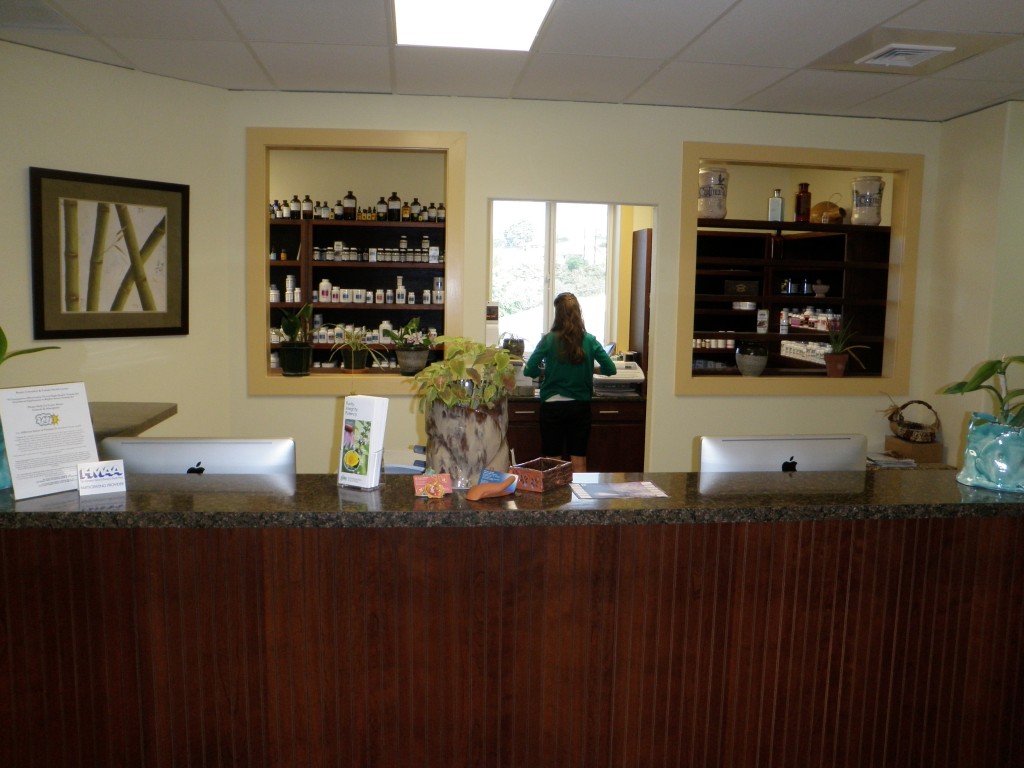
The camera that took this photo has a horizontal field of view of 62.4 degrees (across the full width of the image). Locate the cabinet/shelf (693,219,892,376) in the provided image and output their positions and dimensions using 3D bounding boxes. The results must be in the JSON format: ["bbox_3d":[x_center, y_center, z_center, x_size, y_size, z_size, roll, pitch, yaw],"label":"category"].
[{"bbox_3d":[2.169,-0.645,6.467,1.191,1.027,0.440,2,2,28],"label":"cabinet/shelf"}]

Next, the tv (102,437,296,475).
[{"bbox_3d":[-1.214,0.276,3.261,0.737,0.138,0.118,1,7,-2],"label":"tv"}]

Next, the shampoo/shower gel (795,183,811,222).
[{"bbox_3d":[2.136,-1.306,6.196,0.100,0.290,0.166,3,7,15],"label":"shampoo/shower gel"}]

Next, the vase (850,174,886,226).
[{"bbox_3d":[2.583,-1.325,6.145,0.194,0.362,0.157,3,7,16],"label":"vase"}]

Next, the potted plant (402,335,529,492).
[{"bbox_3d":[-0.227,0.087,3.374,0.472,0.695,0.516,3,4,21],"label":"potted plant"}]

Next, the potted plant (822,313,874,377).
[{"bbox_3d":[2.484,-0.269,6.259,0.265,0.415,0.553,7,9,40],"label":"potted plant"}]

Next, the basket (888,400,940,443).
[{"bbox_3d":[2.849,0.256,5.986,0.346,0.288,0.362,7,9,38],"label":"basket"}]

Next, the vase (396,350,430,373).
[{"bbox_3d":[-0.708,-0.155,5.974,0.192,0.144,0.197,4,7,30],"label":"vase"}]

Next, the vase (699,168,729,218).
[{"bbox_3d":[1.400,-1.333,5.949,0.188,0.370,0.218,3,7,12],"label":"vase"}]

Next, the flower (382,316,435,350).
[{"bbox_3d":[-0.779,-0.337,6.127,0.401,0.259,0.429,2,-5,-5],"label":"flower"}]

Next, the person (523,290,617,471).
[{"bbox_3d":[0.324,0.012,5.775,0.501,1.234,0.692,7,9,42],"label":"person"}]

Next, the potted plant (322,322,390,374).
[{"bbox_3d":[-1.174,-0.258,6.114,0.387,0.211,0.392,0,-2,3],"label":"potted plant"}]

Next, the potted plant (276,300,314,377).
[{"bbox_3d":[-1.518,-0.295,5.831,0.215,0.476,0.300,0,7,-16],"label":"potted plant"}]

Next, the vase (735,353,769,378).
[{"bbox_3d":[1.710,-0.135,6.101,0.166,0.138,0.176,0,11,-7],"label":"vase"}]
